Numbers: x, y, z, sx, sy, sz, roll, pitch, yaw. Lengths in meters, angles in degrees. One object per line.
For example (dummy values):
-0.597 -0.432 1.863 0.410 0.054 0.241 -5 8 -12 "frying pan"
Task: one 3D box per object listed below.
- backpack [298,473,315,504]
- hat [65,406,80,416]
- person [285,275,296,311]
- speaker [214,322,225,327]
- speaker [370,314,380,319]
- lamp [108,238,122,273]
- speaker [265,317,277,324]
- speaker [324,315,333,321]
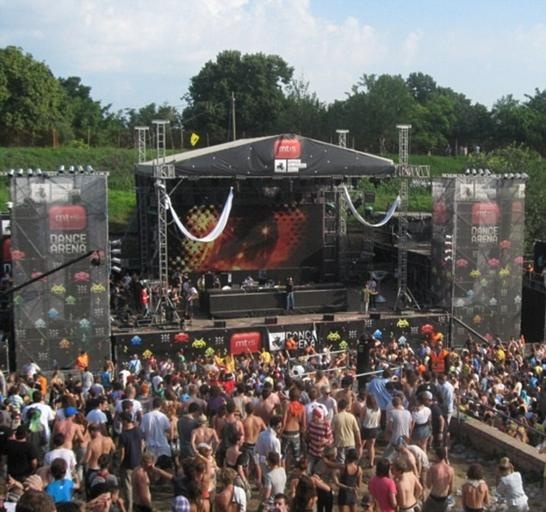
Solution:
0.806 5.713 33.935 0.447 0.866 0.157 0 5 -2 "backpack"
-5.116 3.913 35.306 0.342 0.211 0.280 -1 6 -13 "hat"
0.660 1.385 50.347 0.274 1.213 0.638 1 5 8 "person"
-1.744 2.270 46.641 0.207 0.156 0.212 1 3 -4 "speaker"
3.593 2.043 47.704 0.205 0.140 0.206 -4 6 -37 "speaker"
-5.607 0.018 49.503 0.407 1.269 1.238 -1 -5 -9 "lamp"
-0.013 2.226 47.250 0.315 0.223 0.176 1 -4 -18 "speaker"
1.966 2.086 47.684 0.207 0.146 0.218 -1 1 16 "speaker"
